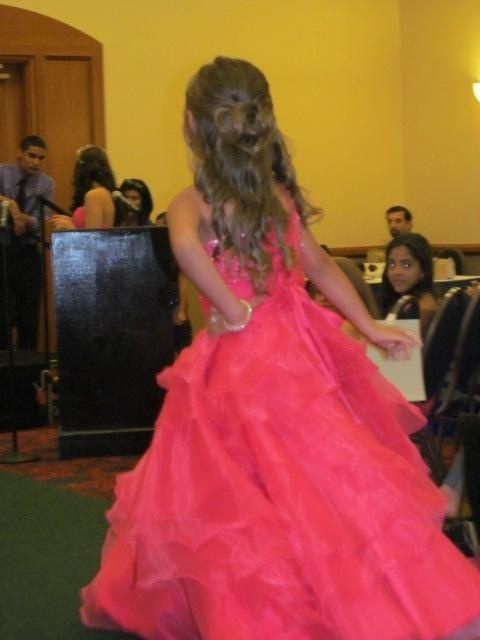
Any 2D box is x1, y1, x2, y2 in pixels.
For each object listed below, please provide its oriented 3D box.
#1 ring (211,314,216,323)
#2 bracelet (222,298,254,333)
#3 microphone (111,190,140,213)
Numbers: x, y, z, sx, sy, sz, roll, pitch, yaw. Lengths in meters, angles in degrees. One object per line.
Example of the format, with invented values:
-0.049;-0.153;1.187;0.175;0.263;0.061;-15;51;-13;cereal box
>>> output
-0.049;-0.003;1.050;0.011;0.011;0.006;35;48;-4;ring
0.000;-0.007;1.013;0.054;0.054;0.016;20;2;44;bracelet
-0.671;-0.693;3.306;0.057;0.065;0.220;4;-20;32;microphone
